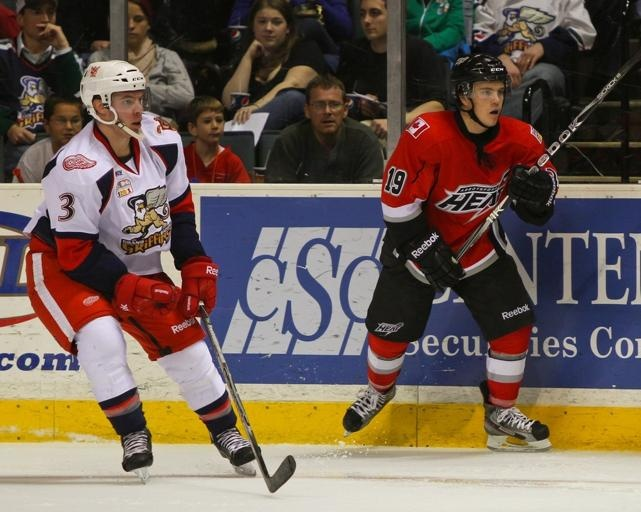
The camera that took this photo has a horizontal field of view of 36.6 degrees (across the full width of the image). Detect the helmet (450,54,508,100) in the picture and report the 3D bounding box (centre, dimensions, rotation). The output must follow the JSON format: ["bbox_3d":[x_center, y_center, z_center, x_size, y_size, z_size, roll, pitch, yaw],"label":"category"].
[{"bbox_3d":[0.701,-0.788,4.306,0.234,0.175,0.182,-1,4,34],"label":"helmet"}]

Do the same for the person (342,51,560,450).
[{"bbox_3d":[0.622,0.000,4.404,0.919,1.803,0.374,2,10,12],"label":"person"}]

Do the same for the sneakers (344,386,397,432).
[{"bbox_3d":[0.236,0.701,4.555,0.127,0.151,0.382,27,28,33],"label":"sneakers"}]

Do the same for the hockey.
[{"bbox_3d":[-0.298,0.589,4.124,0.307,0.747,0.572,-6,11,-30],"label":"hockey"}]

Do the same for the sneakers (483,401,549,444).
[{"bbox_3d":[0.912,0.756,4.442,0.123,0.168,0.378,-18,11,-37],"label":"sneakers"}]

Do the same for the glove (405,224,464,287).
[{"bbox_3d":[0.503,0.004,4.247,0.207,0.269,0.099,-38,7,6],"label":"glove"}]

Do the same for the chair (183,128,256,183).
[{"bbox_3d":[-0.515,-0.472,4.853,0.294,0.215,0.288,1,40,-8],"label":"chair"}]

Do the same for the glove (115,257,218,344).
[{"bbox_3d":[-0.654,0.151,4.090,0.345,0.155,0.243,5,6,-23],"label":"glove"}]

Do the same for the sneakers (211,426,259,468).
[{"bbox_3d":[-0.392,0.807,4.225,0.098,0.119,0.281,-36,22,-11],"label":"sneakers"}]

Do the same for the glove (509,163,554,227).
[{"bbox_3d":[0.964,-0.268,4.296,0.189,0.269,0.182,3,10,19],"label":"glove"}]

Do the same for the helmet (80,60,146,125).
[{"bbox_3d":[-0.923,-0.713,4.192,0.290,0.249,0.215,0,11,21],"label":"helmet"}]

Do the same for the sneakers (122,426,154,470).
[{"bbox_3d":[-0.797,0.798,4.150,0.104,0.133,0.303,-10,10,-5],"label":"sneakers"}]
